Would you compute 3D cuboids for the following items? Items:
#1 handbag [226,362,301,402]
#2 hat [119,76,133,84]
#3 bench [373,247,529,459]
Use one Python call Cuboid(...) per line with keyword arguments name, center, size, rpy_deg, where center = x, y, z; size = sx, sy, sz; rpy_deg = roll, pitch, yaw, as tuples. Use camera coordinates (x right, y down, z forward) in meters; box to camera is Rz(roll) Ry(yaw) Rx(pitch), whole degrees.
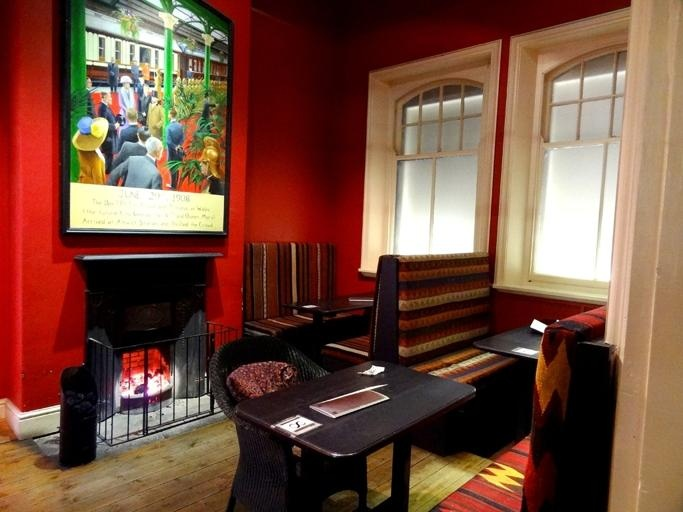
Cuboid(name="handbag", center=(-0.442, 0.668, 2.780), size=(0.248, 0.072, 0.173), rpy_deg=(-4, 9, -42))
Cuboid(name="hat", center=(-1.576, -1.268, 3.705), size=(0.063, 0.027, 0.047), rpy_deg=(4, 15, 8))
Cuboid(name="bench", center=(0.743, 0.682, 3.481), size=(0.786, 1.385, 1.465), rpy_deg=(2, 3, 45))
